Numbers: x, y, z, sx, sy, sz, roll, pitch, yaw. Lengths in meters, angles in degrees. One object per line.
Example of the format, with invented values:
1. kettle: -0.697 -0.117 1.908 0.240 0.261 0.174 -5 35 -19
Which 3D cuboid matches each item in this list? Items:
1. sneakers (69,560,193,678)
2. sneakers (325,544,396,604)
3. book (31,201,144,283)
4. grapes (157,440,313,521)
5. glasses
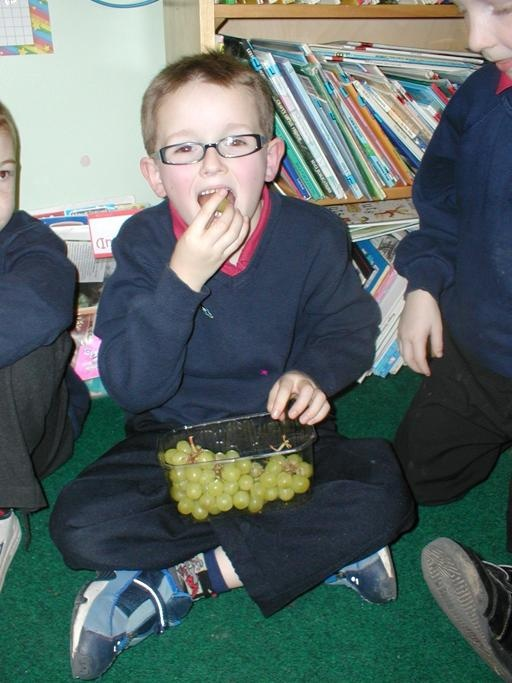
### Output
1. sneakers: -0.213 0.447 0.917 0.184 0.125 0.071 -45 10 -35
2. sneakers: 0.217 0.445 1.083 0.141 0.097 0.087 -22 8 20
3. book: -0.452 -0.273 1.482 0.232 0.094 0.277 -12 6 -10
4. grapes: -0.034 0.235 0.976 0.239 0.091 0.120 -3 35 -11
5. glasses: -0.084 -0.334 0.954 0.189 0.050 0.060 0 34 -2
